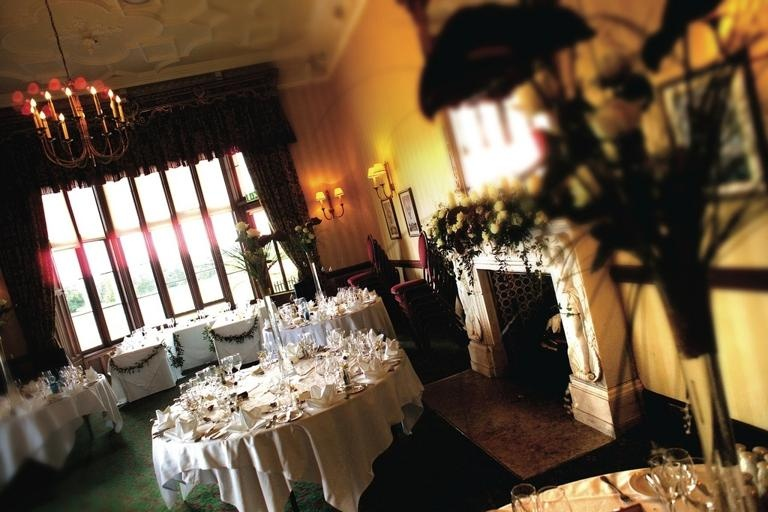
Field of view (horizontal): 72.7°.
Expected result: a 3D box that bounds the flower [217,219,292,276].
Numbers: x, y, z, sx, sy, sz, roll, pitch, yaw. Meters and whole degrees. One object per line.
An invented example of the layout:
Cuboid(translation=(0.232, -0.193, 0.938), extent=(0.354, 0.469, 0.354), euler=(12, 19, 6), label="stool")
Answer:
Cuboid(translation=(-2.342, -0.102, 8.744), extent=(0.996, 1.109, 1.039), euler=(0, -8, 12), label="flower")

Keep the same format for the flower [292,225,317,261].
Cuboid(translation=(-1.276, -0.224, 8.780), extent=(0.345, 0.472, 0.483), euler=(-13, 6, -11), label="flower")

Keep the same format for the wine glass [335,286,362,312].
Cuboid(translation=(-0.417, 0.512, 6.144), extent=(0.240, 0.280, 0.246), euler=(2, 5, 10), label="wine glass")

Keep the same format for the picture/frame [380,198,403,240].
Cuboid(translation=(0.134, -0.588, 8.137), extent=(0.067, 0.716, 0.688), euler=(-19, 4, -16), label="picture/frame")

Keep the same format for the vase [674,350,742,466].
Cuboid(translation=(0.430, 0.209, 0.690), extent=(0.047, 0.190, 0.087), euler=(-7, 8, 34), label="vase")

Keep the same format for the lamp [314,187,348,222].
Cuboid(translation=(-0.946, -0.910, 9.100), extent=(0.547, 0.565, 0.261), euler=(-2, -6, -23), label="lamp")

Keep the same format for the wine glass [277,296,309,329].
Cuboid(translation=(-1.019, 0.668, 6.030), extent=(0.318, 0.323, 0.332), euler=(1, 3, 19), label="wine glass")
